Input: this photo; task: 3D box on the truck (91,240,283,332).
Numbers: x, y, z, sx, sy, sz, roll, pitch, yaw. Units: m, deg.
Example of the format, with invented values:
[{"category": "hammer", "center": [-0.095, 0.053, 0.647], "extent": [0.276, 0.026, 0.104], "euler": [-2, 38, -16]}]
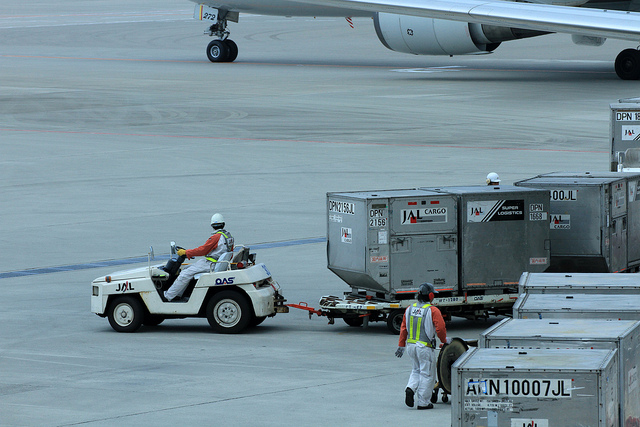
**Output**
[{"category": "truck", "center": [-2.861, 1.667, 23.045], "extent": [4.249, 1.156, 1.908], "euler": [-2, 3, 13]}]

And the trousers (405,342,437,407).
[{"category": "trousers", "center": [1.790, 2.799, 18.197], "extent": [0.532, 1.088, 0.399], "euler": [0, 0, 4]}]

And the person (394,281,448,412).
[{"category": "person", "center": [1.847, 2.271, 18.376], "extent": [1.143, 1.812, 1.309], "euler": [0, -1, 27]}]
